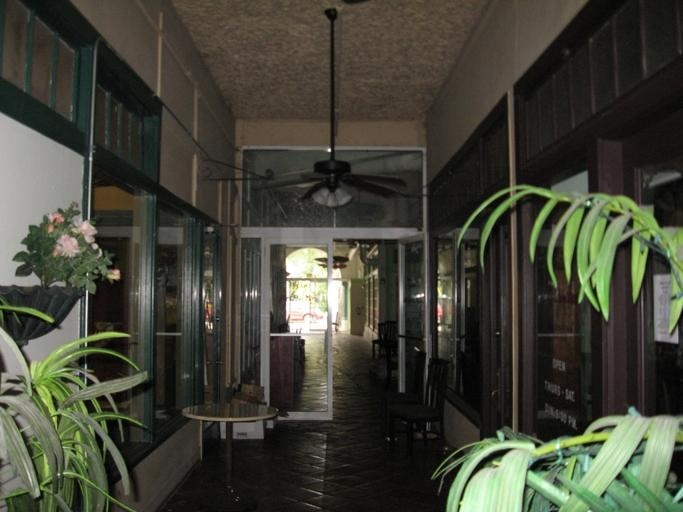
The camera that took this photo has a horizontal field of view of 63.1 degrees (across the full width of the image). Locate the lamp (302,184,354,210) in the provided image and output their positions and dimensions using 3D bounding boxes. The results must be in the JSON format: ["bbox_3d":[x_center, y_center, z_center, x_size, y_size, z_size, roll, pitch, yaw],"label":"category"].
[{"bbox_3d":[-0.072,-0.486,4.563,0.324,0.155,0.325,0,-2,23],"label":"lamp"}]

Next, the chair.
[{"bbox_3d":[0.723,1.621,6.202,0.856,1.459,0.855,8,-11,-20],"label":"chair"}]

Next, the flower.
[{"bbox_3d":[-1.314,-0.041,2.575,0.469,0.419,0.317,1,-2,-4],"label":"flower"}]
